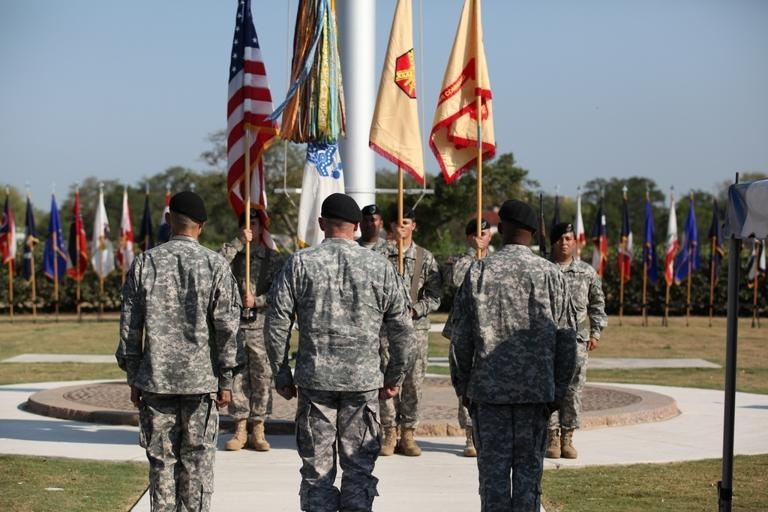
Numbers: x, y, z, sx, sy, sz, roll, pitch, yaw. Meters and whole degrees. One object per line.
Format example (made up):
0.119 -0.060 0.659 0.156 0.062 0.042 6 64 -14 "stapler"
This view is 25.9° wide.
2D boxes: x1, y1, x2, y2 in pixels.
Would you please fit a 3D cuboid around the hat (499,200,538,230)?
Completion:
1.911 -0.692 24.167 0.399 0.273 0.532 27 17 -6 "hat"

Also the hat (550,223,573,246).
2.869 -0.337 26.640 0.272 0.280 0.354 -8 -20 24 "hat"
